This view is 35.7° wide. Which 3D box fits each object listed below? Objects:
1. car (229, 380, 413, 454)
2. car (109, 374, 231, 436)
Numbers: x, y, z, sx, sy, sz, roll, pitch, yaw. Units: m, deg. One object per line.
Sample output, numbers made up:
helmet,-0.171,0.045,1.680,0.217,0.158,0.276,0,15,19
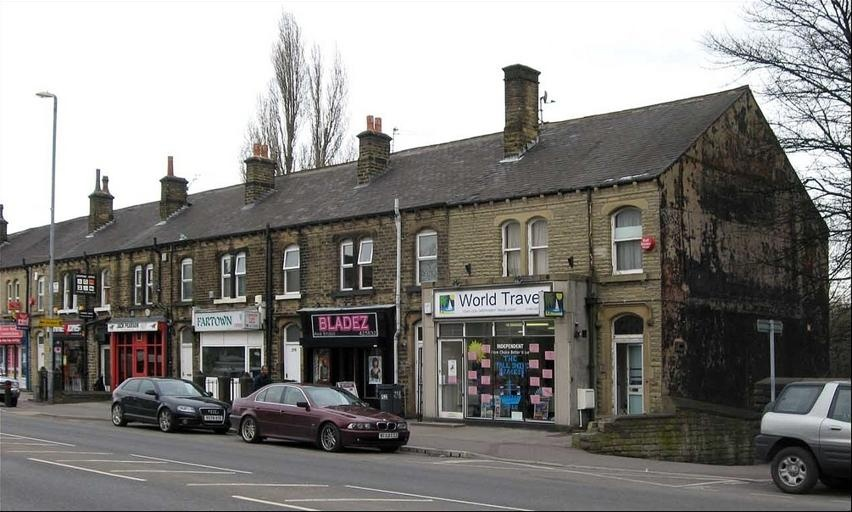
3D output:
car,-4.317,6.241,51.275,5.440,1.670,2.885,-4,-9,37
car,-10.903,6.277,55.321,5.009,1.568,2.268,-5,-9,42
